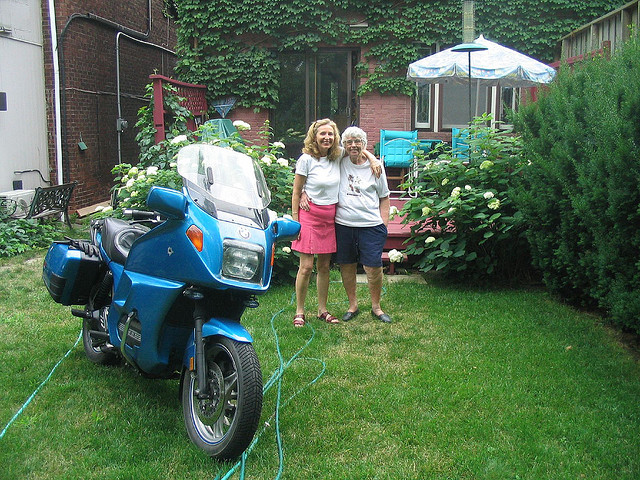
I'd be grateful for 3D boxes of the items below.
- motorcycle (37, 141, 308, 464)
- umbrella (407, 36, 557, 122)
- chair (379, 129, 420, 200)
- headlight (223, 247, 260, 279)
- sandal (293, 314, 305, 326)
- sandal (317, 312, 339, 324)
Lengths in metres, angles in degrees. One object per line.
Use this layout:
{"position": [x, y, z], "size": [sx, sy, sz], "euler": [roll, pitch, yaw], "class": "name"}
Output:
{"position": [-1.260, 0.337, 4.839], "size": [1.203, 1.994, 2.984], "euler": [10, -1, -41], "class": "motorcycle"}
{"position": [2.656, -2.764, 10.116], "size": [2.331, 1.343, 2.927], "euler": [-4, 15, -15], "class": "umbrella"}
{"position": [1.407, -1.436, 11.016], "size": [0.703, 1.296, 0.883], "euler": [0, 0, 3], "class": "chair"}
{"position": [-0.499, 0.155, 4.017], "size": [0.087, 0.211, 0.258], "euler": [-2, -2, 5], "class": "headlight"}
{"position": [-0.214, 0.795, 6.158], "size": [0.104, 0.082, 0.203], "euler": [-1, 15, -3], "class": "sandal"}
{"position": [0.084, 0.793, 6.269], "size": [0.246, 0.074, 0.126], "euler": [10, 18, 35], "class": "sandal"}
